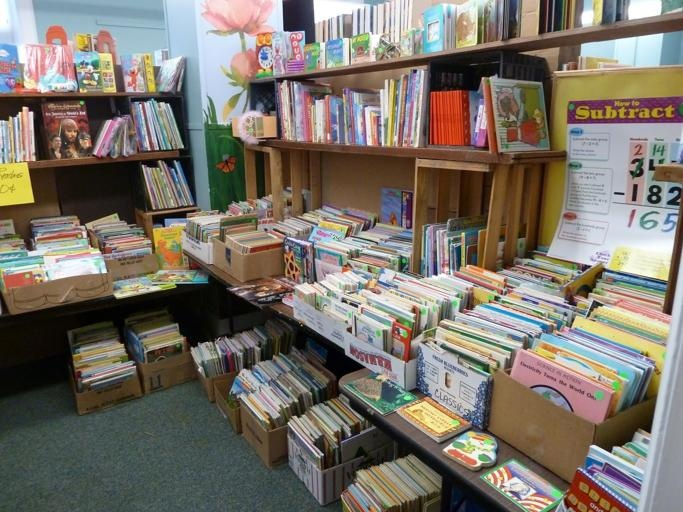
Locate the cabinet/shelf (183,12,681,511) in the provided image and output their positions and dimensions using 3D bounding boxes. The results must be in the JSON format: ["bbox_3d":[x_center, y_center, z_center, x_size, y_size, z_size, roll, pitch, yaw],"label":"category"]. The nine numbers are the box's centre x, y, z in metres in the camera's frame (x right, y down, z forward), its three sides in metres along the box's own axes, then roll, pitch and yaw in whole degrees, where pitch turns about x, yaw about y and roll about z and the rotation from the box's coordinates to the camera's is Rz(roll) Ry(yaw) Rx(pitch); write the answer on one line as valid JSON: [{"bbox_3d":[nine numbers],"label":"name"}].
[{"bbox_3d":[0.325,-0.448,2.759,1.018,1.354,3.150,-13,21,-26],"label":"cabinet/shelf"}]
